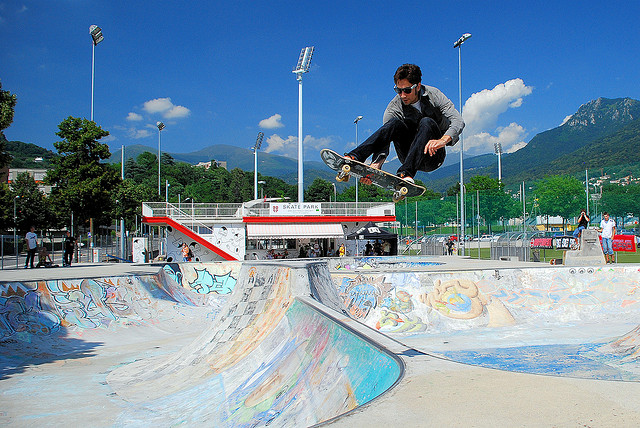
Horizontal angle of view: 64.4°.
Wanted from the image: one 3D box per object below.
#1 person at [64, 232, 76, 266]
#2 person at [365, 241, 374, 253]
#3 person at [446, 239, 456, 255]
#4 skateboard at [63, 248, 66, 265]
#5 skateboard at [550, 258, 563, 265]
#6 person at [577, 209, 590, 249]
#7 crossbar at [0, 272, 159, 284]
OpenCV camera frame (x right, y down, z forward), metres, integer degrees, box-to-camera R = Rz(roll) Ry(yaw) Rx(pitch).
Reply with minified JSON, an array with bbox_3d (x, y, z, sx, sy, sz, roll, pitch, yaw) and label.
[{"bbox_3d":[-11.271,1.539,22.884,0.406,1.557,1.572,-1,-5,-27],"label":"person"},{"bbox_3d":[3.254,2.193,34.025,0.666,1.157,0.374,3,7,33],"label":"person"},{"bbox_3d":[8.426,2.088,32.959,0.368,1.029,1.728,-4,-5,14],"label":"person"},{"bbox_3d":[-11.317,1.879,22.601,0.064,0.689,0.462,0,-5,-35],"label":"skateboard"},{"bbox_3d":[9.309,1.859,20.041,0.353,0.179,1.494,-5,-5,21],"label":"skateboard"},{"bbox_3d":[9.807,0.547,18.997,0.381,1.406,1.212,-5,-5,29],"label":"person"},{"bbox_3d":[-7.043,1.895,15.214,4.474,0.103,0.902,1,-7,-42],"label":"crossbar"}]
